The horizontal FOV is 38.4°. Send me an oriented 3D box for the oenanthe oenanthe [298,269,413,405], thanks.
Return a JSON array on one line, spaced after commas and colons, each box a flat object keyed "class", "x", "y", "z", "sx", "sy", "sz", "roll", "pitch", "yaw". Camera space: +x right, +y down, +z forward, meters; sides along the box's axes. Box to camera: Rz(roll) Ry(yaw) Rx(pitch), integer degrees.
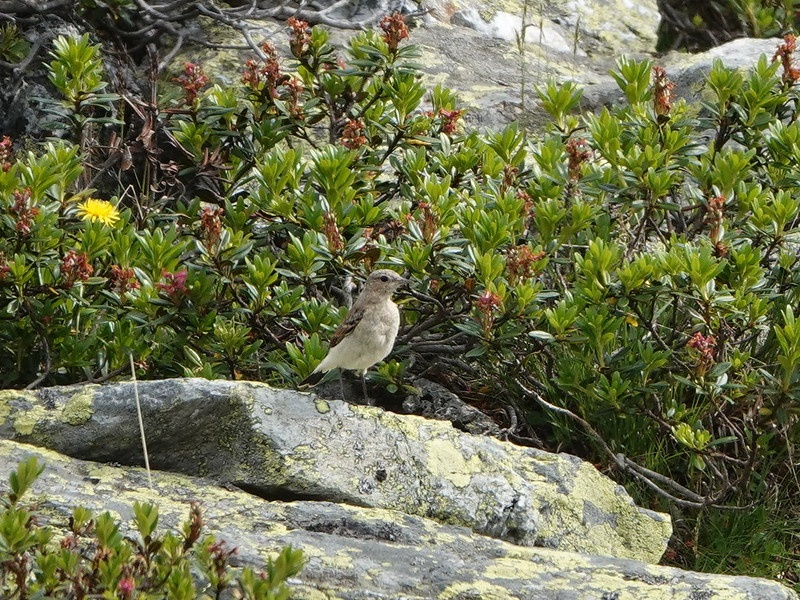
[{"class": "oenanthe oenanthe", "x": -0.467, "y": 0.158, "z": 7.906, "sx": 0.883, "sy": 1.034, "sz": 0.476, "roll": -4, "pitch": -9, "yaw": 16}]
